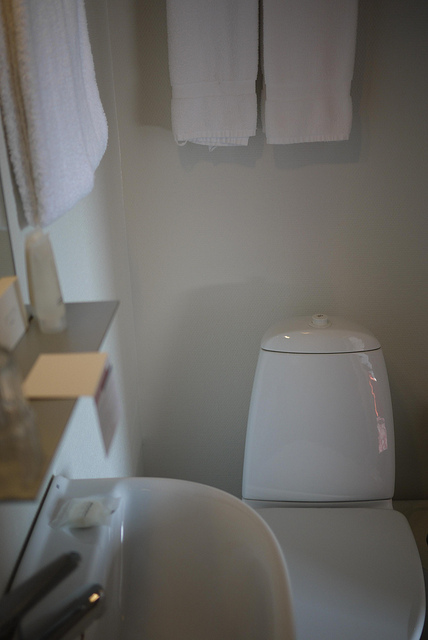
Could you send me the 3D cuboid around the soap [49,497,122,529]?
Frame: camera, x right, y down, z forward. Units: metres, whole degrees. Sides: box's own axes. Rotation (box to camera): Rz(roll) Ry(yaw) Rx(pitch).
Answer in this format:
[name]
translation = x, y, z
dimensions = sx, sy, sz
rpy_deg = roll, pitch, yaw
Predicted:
[soap]
translation = -0.157, 0.232, 0.572
dimensions = 0.076, 0.014, 0.053
rpy_deg = 1, 13, -4
